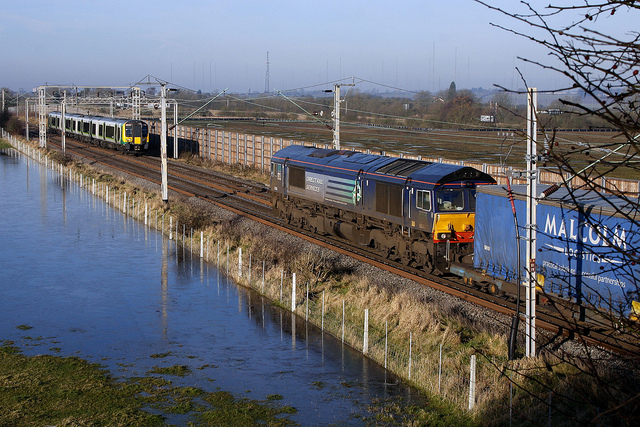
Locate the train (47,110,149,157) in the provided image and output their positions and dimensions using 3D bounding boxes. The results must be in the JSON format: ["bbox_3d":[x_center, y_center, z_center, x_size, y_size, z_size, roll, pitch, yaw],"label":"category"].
[{"bbox_3d":[-35.065,-13.098,95.181,3.489,4.900,29.071,-5,13,-43],"label":"train"}]
